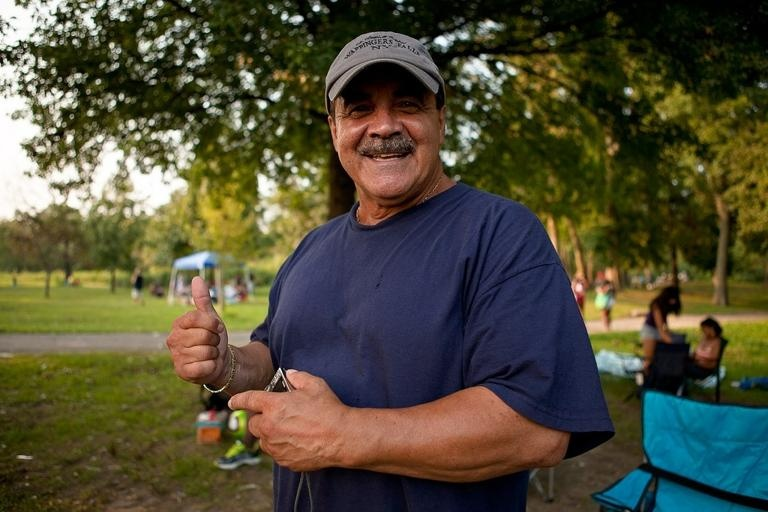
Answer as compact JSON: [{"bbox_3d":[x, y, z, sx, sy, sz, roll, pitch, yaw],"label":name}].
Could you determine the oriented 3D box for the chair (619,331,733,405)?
[{"bbox_3d":[1.773,0.694,4.758,0.352,0.544,0.375,0,10,-6],"label":"chair"}]

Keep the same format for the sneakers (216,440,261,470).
[{"bbox_3d":[-1.418,1.973,7.694,0.522,0.273,0.181,7,-10,-31],"label":"sneakers"}]
